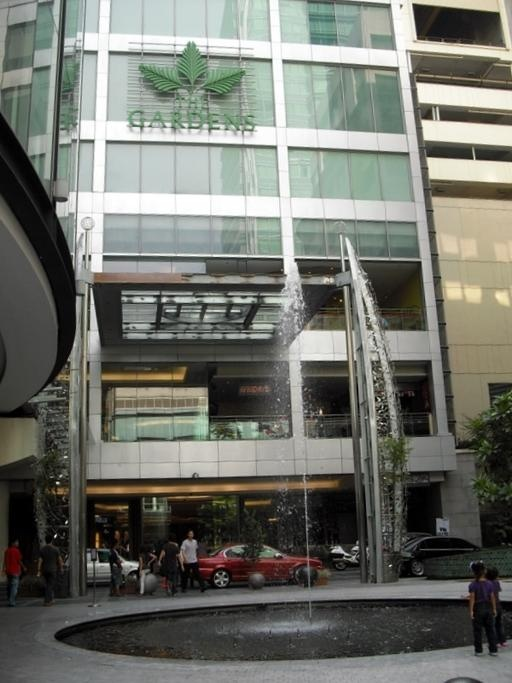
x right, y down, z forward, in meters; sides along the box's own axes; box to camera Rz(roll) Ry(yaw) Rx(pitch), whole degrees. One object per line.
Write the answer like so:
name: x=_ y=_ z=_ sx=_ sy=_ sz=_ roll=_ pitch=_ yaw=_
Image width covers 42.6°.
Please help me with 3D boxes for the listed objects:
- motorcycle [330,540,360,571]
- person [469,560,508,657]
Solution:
motorcycle: x=3.889 y=9.348 z=28.298 sx=1.507 sy=1.000 sz=0.969 roll=9 pitch=-19 yaw=-43
person: x=2.287 y=2.638 z=6.523 sx=0.321 sy=0.859 sz=0.708 roll=-8 pitch=-14 yaw=16
